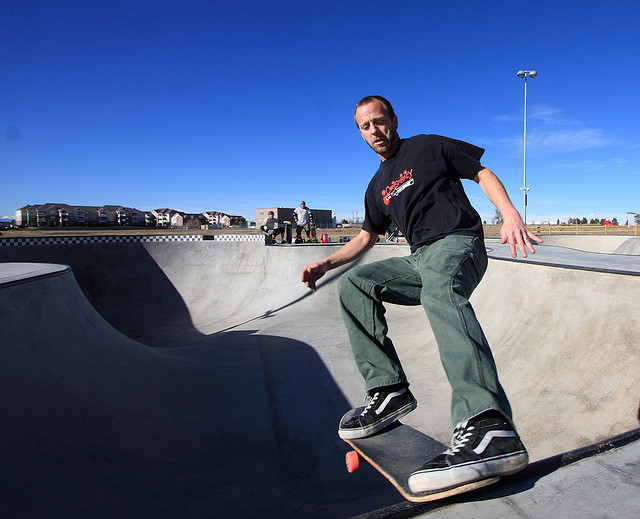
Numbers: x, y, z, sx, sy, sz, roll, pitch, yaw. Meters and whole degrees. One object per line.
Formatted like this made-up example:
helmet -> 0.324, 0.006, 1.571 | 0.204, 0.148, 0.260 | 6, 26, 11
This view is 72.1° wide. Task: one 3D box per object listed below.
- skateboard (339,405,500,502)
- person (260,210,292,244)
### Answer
skateboard -> 0.518, 1.081, 2.416 | 0.417, 0.222, 0.796 | -1, 12, -24
person -> -1.379, -1.005, 14.394 | 1.020, 1.107, 0.577 | -11, 1, -17
